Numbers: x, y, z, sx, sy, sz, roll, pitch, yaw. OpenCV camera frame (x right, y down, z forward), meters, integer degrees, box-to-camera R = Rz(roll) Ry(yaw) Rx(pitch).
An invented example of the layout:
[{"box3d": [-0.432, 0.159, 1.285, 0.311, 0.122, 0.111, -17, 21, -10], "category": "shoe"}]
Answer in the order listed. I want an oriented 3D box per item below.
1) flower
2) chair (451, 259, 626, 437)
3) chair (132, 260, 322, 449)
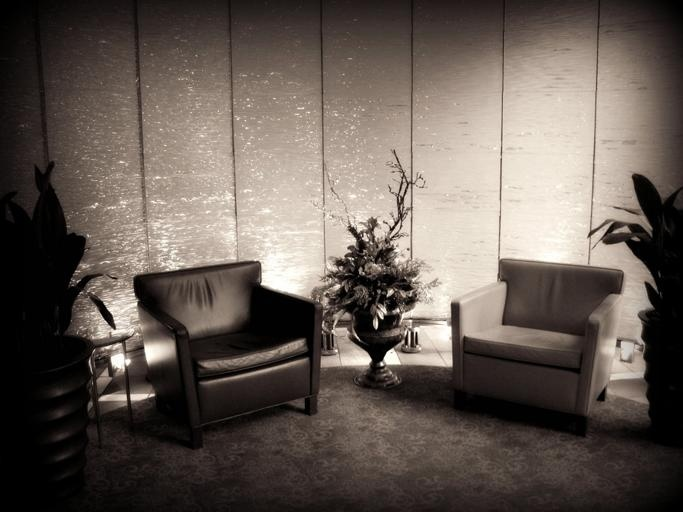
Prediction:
[{"box3d": [0.246, -0.203, 4.893, 1.161, 1.365, 1.668, 2, 10, 9], "category": "flower"}, {"box3d": [1.339, 0.508, 4.421, 1.225, 1.168, 1.182, 3, 6, 31], "category": "chair"}, {"box3d": [-0.814, 0.631, 4.323, 1.198, 1.079, 1.265, -6, 9, -38], "category": "chair"}]
